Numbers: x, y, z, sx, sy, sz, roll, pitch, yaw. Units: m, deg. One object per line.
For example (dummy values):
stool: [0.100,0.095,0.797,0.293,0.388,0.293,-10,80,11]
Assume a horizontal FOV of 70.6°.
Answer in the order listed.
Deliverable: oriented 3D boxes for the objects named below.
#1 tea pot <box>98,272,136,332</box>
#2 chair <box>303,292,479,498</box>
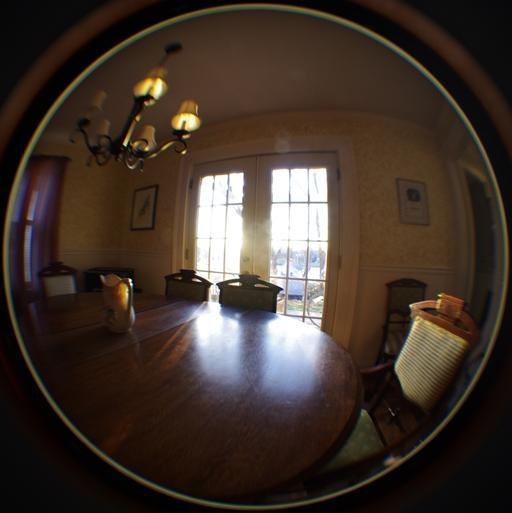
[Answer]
tea pot: [-0.280,0.096,0.749,0.060,0.126,0.050,10,20,17]
chair: [0.216,0.221,0.549,0.170,0.318,0.159,-3,13,-39]
